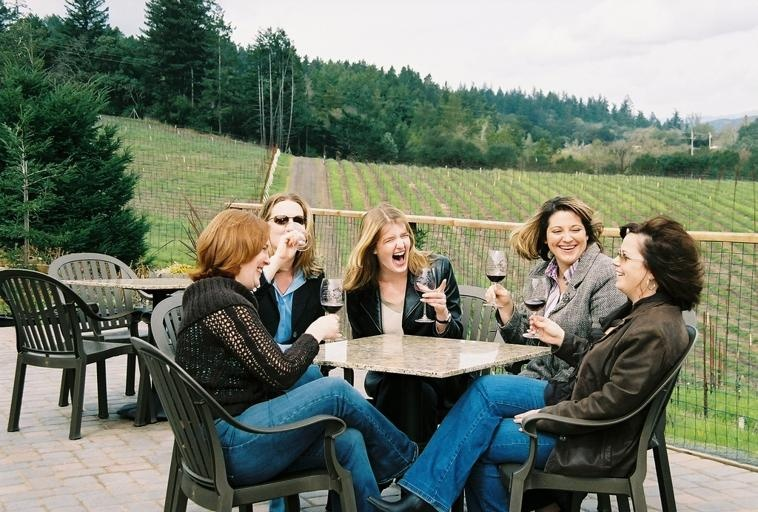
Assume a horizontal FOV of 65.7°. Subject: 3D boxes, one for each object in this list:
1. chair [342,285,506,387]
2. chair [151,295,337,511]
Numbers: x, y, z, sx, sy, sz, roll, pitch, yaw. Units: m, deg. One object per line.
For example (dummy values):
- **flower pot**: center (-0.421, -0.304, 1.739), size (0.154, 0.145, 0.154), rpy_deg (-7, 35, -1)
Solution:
- **chair**: center (0.418, 0.595, 4.820), size (0.826, 1.156, 0.824), rpy_deg (-4, -10, 23)
- **chair**: center (-1.035, 0.785, 4.037), size (0.756, 1.036, 0.763), rpy_deg (-10, 19, -24)
